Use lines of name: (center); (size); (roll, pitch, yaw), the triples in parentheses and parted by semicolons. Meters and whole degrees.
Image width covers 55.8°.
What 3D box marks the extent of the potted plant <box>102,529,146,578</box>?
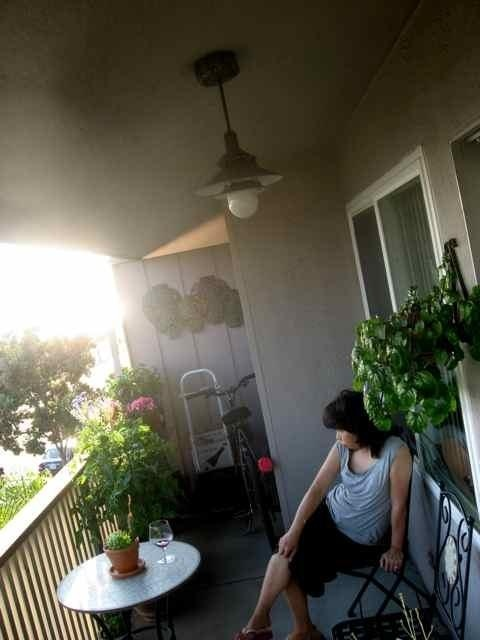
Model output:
potted plant: (-0.537, 1.038, 2.094); (0.161, 0.206, 0.168); (-2, -6, -29)

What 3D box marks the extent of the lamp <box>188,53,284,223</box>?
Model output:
lamp: (-0.036, -0.653, 1.625); (0.253, 0.539, 0.273); (-12, 6, 3)

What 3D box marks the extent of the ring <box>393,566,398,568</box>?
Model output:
ring: (0.597, 0.953, 1.744); (0.011, 0.009, 0.003); (2, -11, 3)
